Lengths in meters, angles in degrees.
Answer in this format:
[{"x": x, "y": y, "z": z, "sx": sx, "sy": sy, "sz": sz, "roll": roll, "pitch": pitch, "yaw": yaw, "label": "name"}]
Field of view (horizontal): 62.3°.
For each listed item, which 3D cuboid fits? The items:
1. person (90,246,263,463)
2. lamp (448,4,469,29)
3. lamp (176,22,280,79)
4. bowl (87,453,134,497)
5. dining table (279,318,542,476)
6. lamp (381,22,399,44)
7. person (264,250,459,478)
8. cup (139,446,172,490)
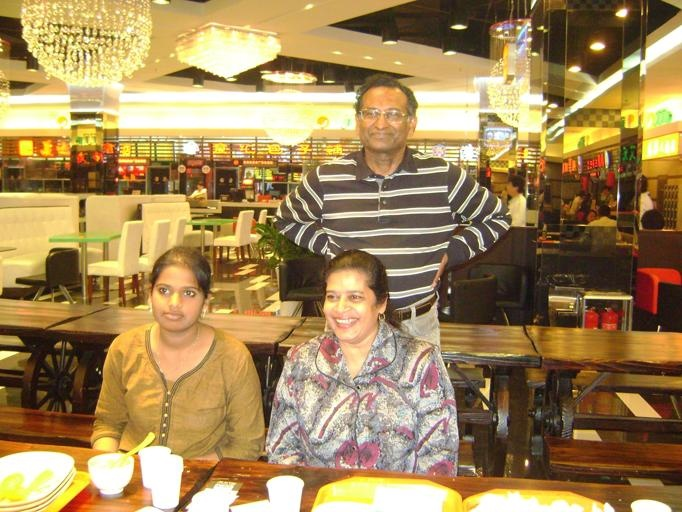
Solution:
[{"x": -0.688, "y": 0.401, "z": 2.378, "sx": 0.724, "sy": 0.873, "sz": 0.243, "roll": 0, "pitch": 4, "yaw": -4, "label": "person"}, {"x": 1.714, "y": -3.486, "z": 8.181, "sx": 0.229, "sy": 0.399, "sz": 0.532, "roll": 2, "pitch": 4, "yaw": 16, "label": "lamp"}, {"x": -1.463, "y": -3.191, "z": 8.622, "sx": 1.303, "sy": 0.493, "sz": 1.297, "roll": 15, "pitch": 20, "yaw": 11, "label": "lamp"}, {"x": -0.695, "y": 0.654, "z": 1.705, "sx": 0.122, "sy": 0.087, "sz": 0.123, "roll": 0, "pitch": -3, "yaw": 0, "label": "bowl"}, {"x": 0.521, "y": 0.803, "z": 3.299, "sx": 1.104, "sy": 0.647, "sz": 0.633, "roll": 10, "pitch": -3, "yaw": 2, "label": "dining table"}, {"x": 0.777, "y": -3.465, "z": 8.808, "sx": 0.229, "sy": 0.243, "sz": 0.224, "roll": 6, "pitch": 25, "yaw": 13, "label": "lamp"}, {"x": 0.083, "y": 0.378, "z": 2.105, "sx": 0.698, "sy": 0.792, "sz": 0.237, "roll": 1, "pitch": 4, "yaw": 9, "label": "person"}, {"x": -0.554, "y": 0.637, "z": 1.750, "sx": 0.124, "sy": 0.104, "sz": 0.116, "roll": 2, "pitch": 7, "yaw": 0, "label": "cup"}]
